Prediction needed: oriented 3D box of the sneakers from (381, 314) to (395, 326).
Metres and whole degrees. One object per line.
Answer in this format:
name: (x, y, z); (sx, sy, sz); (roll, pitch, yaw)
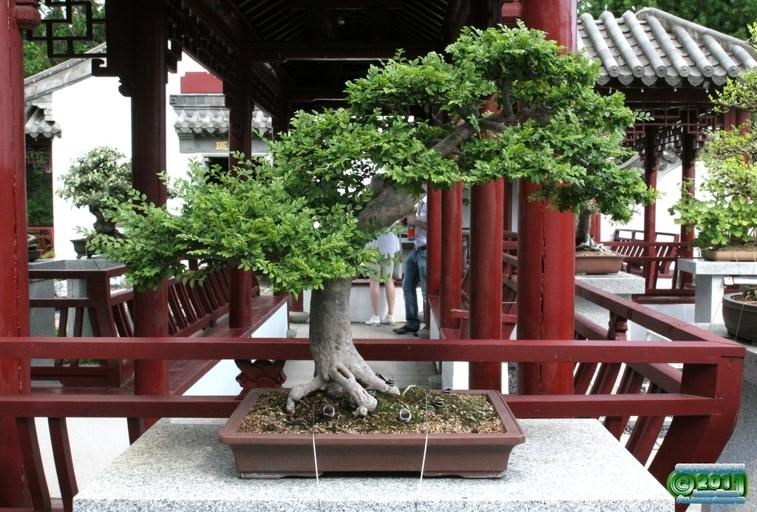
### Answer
sneakers: (0.145, 0.855, 9.135); (0.229, 0.151, 0.095); (3, 3, 12)

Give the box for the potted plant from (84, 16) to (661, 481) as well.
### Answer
potted plant: (0.044, -0.204, 3.370); (2.464, 1.550, 1.115); (-8, 9, 3)

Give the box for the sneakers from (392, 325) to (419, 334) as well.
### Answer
sneakers: (0.336, 0.905, 8.411); (0.309, 0.123, 0.116); (2, -3, 3)
